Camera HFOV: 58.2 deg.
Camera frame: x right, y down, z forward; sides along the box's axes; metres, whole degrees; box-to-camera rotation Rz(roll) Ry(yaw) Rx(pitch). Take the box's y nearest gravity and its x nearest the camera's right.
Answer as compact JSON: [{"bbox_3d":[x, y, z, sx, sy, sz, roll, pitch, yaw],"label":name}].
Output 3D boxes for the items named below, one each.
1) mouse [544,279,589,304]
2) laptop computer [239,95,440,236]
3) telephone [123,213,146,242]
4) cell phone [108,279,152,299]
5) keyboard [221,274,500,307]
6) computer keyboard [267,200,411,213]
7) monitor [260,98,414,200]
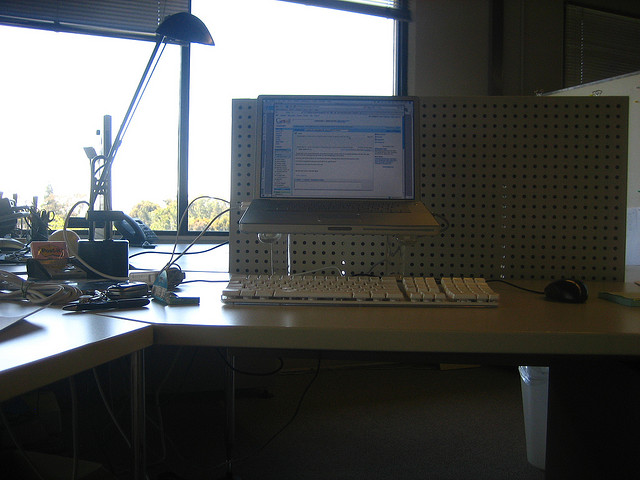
[{"bbox_3d":[0.867,0.179,2.015,0.079,0.044,0.113,-5,-1,-32],"label":"mouse"},{"bbox_3d":[0.072,-0.283,2.108,0.715,0.508,0.160,1,6,1],"label":"laptop computer"},{"bbox_3d":[-1.137,-0.078,3.527,0.118,0.163,0.150,-2,7,-20],"label":"telephone"},{"bbox_3d":[-0.660,0.169,1.973,0.087,0.034,0.064,-4,5,-42],"label":"cell phone"},{"bbox_3d":[0.138,0.174,2.025,0.954,0.082,0.188,0,7,-2],"label":"keyboard"},{"bbox_3d":[0.068,-0.126,2.127,0.524,0.041,0.065,0,7,-1],"label":"computer keyboard"},{"bbox_3d":[0.063,-0.326,2.248,0.572,0.370,0.375,2,6,-3],"label":"monitor"}]
